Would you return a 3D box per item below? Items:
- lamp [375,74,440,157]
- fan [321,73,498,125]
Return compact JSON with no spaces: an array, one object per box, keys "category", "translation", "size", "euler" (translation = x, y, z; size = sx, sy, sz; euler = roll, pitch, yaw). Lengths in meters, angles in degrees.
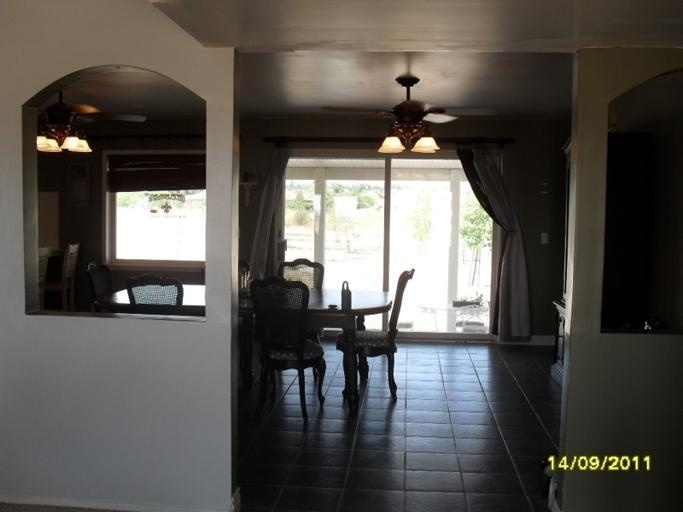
[{"category":"lamp","translation":[0.591,-1.242,4.842],"size":[0.641,0.584,0.699],"euler":[4,20,24]},{"category":"fan","translation":[0.561,-1.276,4.815],"size":[0.858,0.274,0.960],"euler":[2,4,16]}]
